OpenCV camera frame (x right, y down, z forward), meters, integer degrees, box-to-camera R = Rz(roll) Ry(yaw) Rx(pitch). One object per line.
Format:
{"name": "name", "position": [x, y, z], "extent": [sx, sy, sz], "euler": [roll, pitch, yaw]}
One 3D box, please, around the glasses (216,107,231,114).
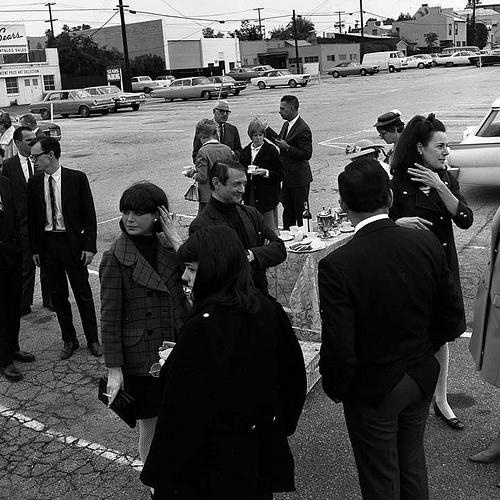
{"name": "glasses", "position": [-0.368, -2.046, 7.787], "extent": [0.159, 0.074, 0.285], "euler": [6, 19, 30]}

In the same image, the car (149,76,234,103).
{"name": "car", "position": [-4.447, -12.294, 40.437], "extent": [5.704, 1.653, 1.490], "euler": [7, 18, 32]}

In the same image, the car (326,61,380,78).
{"name": "car", "position": [11.140, -19.573, 57.521], "extent": [4.258, 1.366, 2.135], "euler": [2, 21, 16]}

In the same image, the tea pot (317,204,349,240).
{"name": "tea pot", "position": [0.855, -0.281, 5.572], "extent": [0.285, 0.392, 0.378], "euler": [1, 5, 37]}

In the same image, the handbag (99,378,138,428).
{"name": "handbag", "position": [-0.725, 0.832, 2.888], "extent": [0.100, 0.237, 0.318], "euler": [-16, 20, -39]}

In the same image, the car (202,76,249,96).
{"name": "car", "position": [-2.304, -12.532, 40.814], "extent": [2.948, 1.115, 1.630], "euler": [19, 33, 39]}

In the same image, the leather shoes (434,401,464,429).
{"name": "leather shoes", "position": [1.406, 1.181, 3.776], "extent": [0.077, 0.104, 0.232], "euler": [-19, 23, -27]}

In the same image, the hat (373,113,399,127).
{"name": "hat", "position": [1.383, -1.310, 5.281], "extent": [0.178, 0.067, 0.172], "euler": [-11, 10, 11]}

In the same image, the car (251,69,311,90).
{"name": "car", "position": [2.586, -15.483, 47.916], "extent": [5.662, 1.690, 2.592], "euler": [12, 22, 43]}

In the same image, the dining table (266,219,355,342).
{"name": "dining table", "position": [0.565, 0.405, 5.247], "extent": [0.807, 0.837, 1.158], "euler": [4, 23, 19]}

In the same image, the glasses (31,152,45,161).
{"name": "glasses", "position": [-1.908, -0.837, 4.720], "extent": [0.094, 0.029, 0.090], "euler": [-26, 17, -27]}

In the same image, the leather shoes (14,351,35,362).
{"name": "leather shoes", "position": [-2.222, 1.030, 5.227], "extent": [0.223, 0.094, 0.094], "euler": [3, 9, 12]}

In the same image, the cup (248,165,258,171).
{"name": "cup", "position": [0.026, -0.999, 6.430], "extent": [0.107, 0.075, 0.159], "euler": [-1, 1, 5]}

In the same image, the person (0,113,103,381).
{"name": "person", "position": [-1.766, 0.002, 5.030], "extent": [0.639, 2.127, 0.289], "euler": [-3, 15, 1]}
